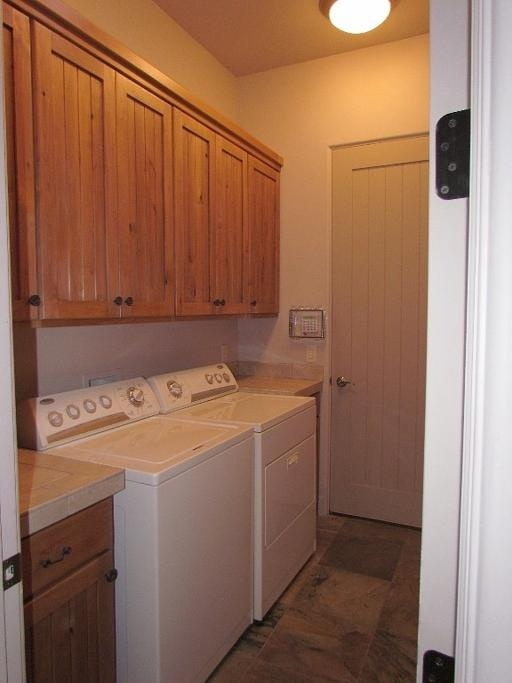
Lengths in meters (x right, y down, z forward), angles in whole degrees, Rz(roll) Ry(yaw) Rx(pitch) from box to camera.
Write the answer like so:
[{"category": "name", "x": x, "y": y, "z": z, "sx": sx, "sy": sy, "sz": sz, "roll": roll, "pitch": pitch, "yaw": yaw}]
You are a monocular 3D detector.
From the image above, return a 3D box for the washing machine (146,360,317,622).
[{"category": "washing machine", "x": -0.068, "y": 0.598, "z": 2.348, "sx": 0.456, "sy": 0.963, "sz": 0.624, "roll": 1, "pitch": 8, "yaw": 24}]
